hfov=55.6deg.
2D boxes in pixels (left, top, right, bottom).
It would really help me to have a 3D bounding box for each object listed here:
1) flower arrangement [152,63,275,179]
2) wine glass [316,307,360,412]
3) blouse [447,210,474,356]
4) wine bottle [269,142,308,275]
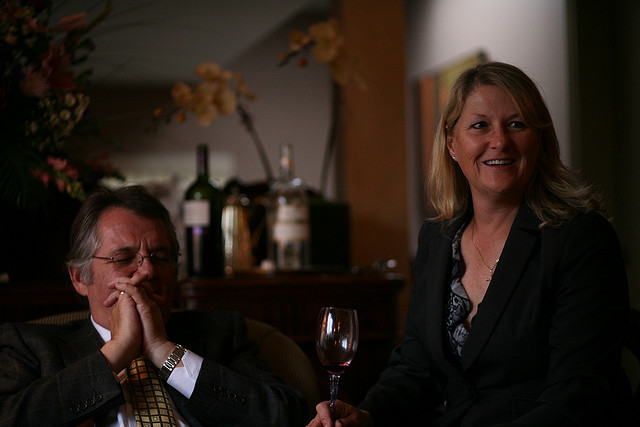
[{"bbox_3d":[-0.431,-0.436,2.481,0.375,0.570,0.570,-2,8,-23],"label":"flower arrangement"},{"bbox_3d":[0.061,0.505,2.093,0.140,0.361,0.132,-3,-4,30],"label":"wine glass"},{"bbox_3d":[0.516,0.312,2.355,0.097,0.370,0.118,3,11,8],"label":"blouse"},{"bbox_3d":[-0.151,-0.024,3.214,0.177,0.710,0.185,0,7,0],"label":"wine bottle"}]
